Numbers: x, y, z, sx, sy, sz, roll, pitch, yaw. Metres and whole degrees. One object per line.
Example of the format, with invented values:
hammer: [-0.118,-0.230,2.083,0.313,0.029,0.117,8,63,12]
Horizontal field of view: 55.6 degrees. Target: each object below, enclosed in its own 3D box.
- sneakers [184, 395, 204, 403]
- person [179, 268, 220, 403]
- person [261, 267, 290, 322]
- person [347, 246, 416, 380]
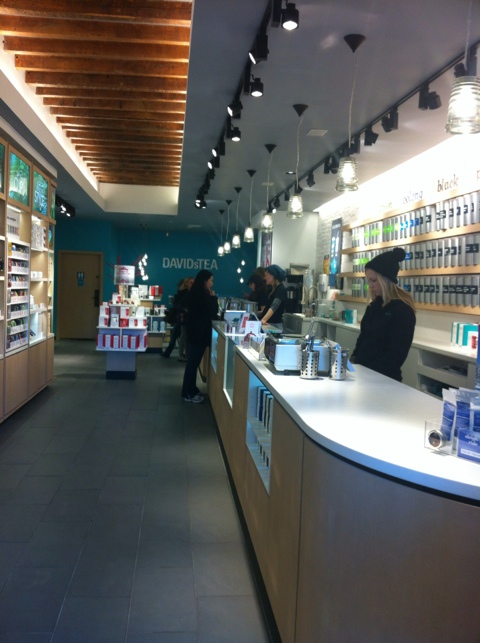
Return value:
sneakers: [-0.586,1.016,5.884,0.225,0.139,0.107,-4,-1,19]
person: [-0.546,0.188,5.929,0.346,1.736,0.423,0,13,-25]
person: [0.566,-0.423,7.566,0.265,1.263,0.830,3,-3,-2]
person: [0.960,-0.064,3.157,0.359,0.903,0.478,1,2,-11]
